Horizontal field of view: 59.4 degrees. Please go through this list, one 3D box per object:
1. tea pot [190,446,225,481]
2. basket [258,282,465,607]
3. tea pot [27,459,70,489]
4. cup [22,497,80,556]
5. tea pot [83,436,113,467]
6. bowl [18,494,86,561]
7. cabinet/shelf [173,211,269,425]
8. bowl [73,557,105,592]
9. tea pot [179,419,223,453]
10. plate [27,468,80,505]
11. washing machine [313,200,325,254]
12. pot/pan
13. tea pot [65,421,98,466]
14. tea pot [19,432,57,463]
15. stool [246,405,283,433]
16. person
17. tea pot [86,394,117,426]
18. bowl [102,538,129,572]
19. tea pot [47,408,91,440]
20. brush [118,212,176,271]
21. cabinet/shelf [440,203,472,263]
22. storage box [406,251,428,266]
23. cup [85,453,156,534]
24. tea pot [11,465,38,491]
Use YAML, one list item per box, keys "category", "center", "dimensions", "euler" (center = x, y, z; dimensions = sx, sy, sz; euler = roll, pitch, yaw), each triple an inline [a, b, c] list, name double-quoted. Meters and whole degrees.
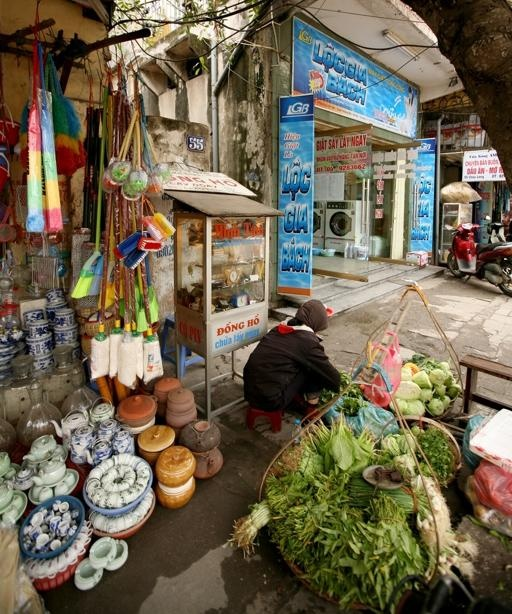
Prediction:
- category: "tea pot"
  center: [-0.335, 1.132, 3.278]
  dimensions: [0.216, 0.192, 0.221]
  euler: [-3, 7, 0]
- category: "basket"
  center: [0.817, 0.681, 2.968]
  dimensions: [1.042, 0.880, 2.057]
  euler: [10, 25, 22]
- category: "tea pot"
  center: [-1.249, 0.994, 2.702]
  dimensions: [0.115, 0.078, 0.159]
  euler: [19, 16, 27]
- category: "cup"
  center: [-1.128, 1.223, 2.499]
  dimensions: [0.245, 0.106, 0.258]
  euler: [-6, 28, 3]
- category: "tea pot"
  center: [-1.042, 0.946, 2.985]
  dimensions: [0.182, 0.173, 0.124]
  euler: [4, 10, -29]
- category: "bowl"
  center: [-1.132, 1.213, 2.494]
  dimensions: [0.257, 0.094, 0.264]
  euler: [-8, 30, 5]
- category: "cabinet/shelf"
  center: [-0.342, 0.071, 4.274]
  dimensions: [0.954, 1.787, 0.732]
  euler: [-4, 18, -33]
- category: "bowl"
  center: [-0.929, 1.463, 2.468]
  dimensions: [0.151, 0.078, 0.143]
  euler: [-2, 11, 0]
- category: "tea pot"
  center: [-0.404, 0.937, 3.283]
  dimensions: [0.219, 0.114, 0.213]
  euler: [2, 18, -1]
- category: "plate"
  center: [-1.203, 1.074, 2.727]
  dimensions: [0.243, 0.164, 0.267]
  euler: [-6, 18, -43]
- category: "washing machine"
  center: [1.436, -1.864, 10.336]
  dimensions: [0.233, 1.063, 0.567]
  euler: [-3, 11, -6]
- category: "pot/pan"
  center: [-0.786, 0.785, 3.505]
  dimensions: [0.585, 0.295, 0.512]
  euler: [-6, 12, -19]
- category: "tea pot"
  center: [-1.111, 0.904, 3.000]
  dimensions: [0.250, 0.225, 0.175]
  euler: [7, 3, 12]
- category: "tea pot"
  center: [-1.352, 0.893, 2.852]
  dimensions: [0.144, 0.118, 0.226]
  euler: [3, 12, 22]
- category: "stool"
  center: [0.063, 0.931, 3.937]
  dimensions: [0.259, 0.193, 0.255]
  euler: [0, 7, -13]
- category: "person"
  center: [0.300, 0.489, 4.048]
  dimensions: [0.848, 1.085, 0.777]
  euler: [3, 14, -10]
- category: "tea pot"
  center: [-1.133, 0.759, 3.308]
  dimensions: [0.163, 0.174, 0.159]
  euler: [0, -1, 0]
- category: "bowl"
  center: [-0.799, 1.415, 2.595]
  dimensions: [0.115, 0.087, 0.183]
  euler: [-3, 11, -5]
- category: "tea pot"
  center: [-1.282, 0.791, 3.109]
  dimensions: [0.263, 0.263, 0.185]
  euler: [5, -5, -44]
- category: "brush"
  center: [-0.760, -0.467, 3.161]
  dimensions: [0.462, 0.306, 0.138]
  euler: [-42, 24, -9]
- category: "cabinet/shelf"
  center: [4.722, -1.750, 10.621]
  dimensions: [0.657, 1.734, 0.878]
  euler: [10, 14, 29]
- category: "storage box"
  center: [3.472, -1.046, 9.673]
  dimensions: [0.478, 0.291, 0.492]
  euler: [9, 15, 44]
- category: "cup"
  center: [-0.848, 1.122, 2.739]
  dimensions: [0.380, 0.193, 0.428]
  euler: [2, 21, -7]
- category: "tea pot"
  center: [-1.395, 1.039, 2.698]
  dimensions: [0.125, 0.125, 0.124]
  euler: [-2, 11, 0]
